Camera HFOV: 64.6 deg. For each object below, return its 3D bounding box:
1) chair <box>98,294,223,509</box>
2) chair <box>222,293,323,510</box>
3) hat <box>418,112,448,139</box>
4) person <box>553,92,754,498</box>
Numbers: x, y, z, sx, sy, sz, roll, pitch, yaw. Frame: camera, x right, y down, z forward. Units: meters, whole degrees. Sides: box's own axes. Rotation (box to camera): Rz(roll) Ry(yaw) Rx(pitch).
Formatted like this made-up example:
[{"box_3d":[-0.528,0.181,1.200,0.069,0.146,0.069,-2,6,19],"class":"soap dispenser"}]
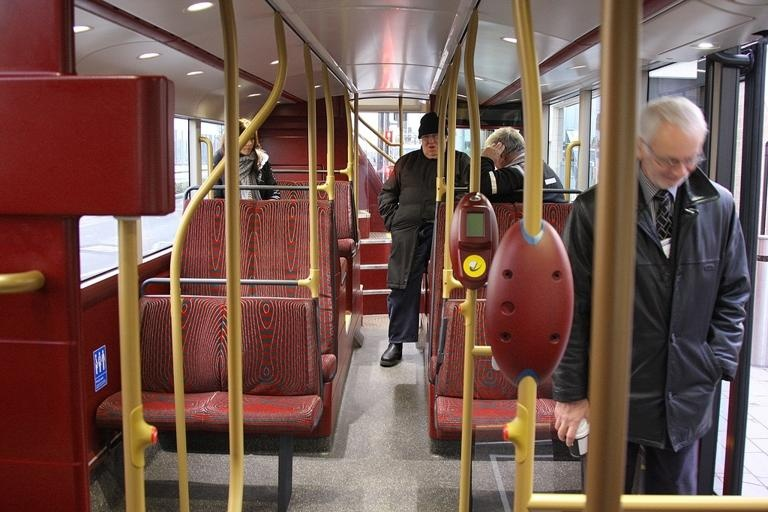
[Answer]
[{"box_3d":[-1.143,0.666,3.365,0.748,0.827,0.512,1,10,7],"class":"chair"},{"box_3d":[-0.547,0.602,3.294,0.436,0.705,0.427,-3,10,-13],"class":"chair"},{"box_3d":[0.374,-1.124,5.177,0.147,0.222,0.323,-1,10,-2],"class":"hat"},{"box_3d":[1.015,0.226,2.374,0.841,1.655,0.317,-4,10,-17],"class":"person"}]
